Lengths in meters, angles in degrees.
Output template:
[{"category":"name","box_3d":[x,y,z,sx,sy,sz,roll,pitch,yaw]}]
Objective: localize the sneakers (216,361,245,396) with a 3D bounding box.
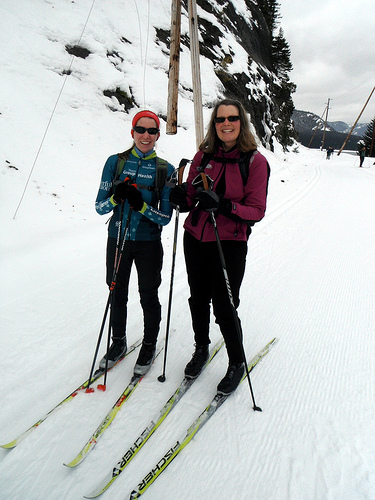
[{"category":"sneakers","box_3d":[0.348,0.957,2.658,0.105,0.128,0.323,9,27,30]}]

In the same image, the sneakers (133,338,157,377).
[{"category":"sneakers","box_3d":[-0.331,0.887,2.825,0.091,0.131,0.312,7,22,7]}]

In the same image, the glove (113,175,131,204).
[{"category":"glove","box_3d":[-0.471,-0.419,2.495,0.116,0.212,0.202,5,18,-13]}]

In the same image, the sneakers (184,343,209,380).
[{"category":"sneakers","box_3d":[0.093,0.905,2.808,0.104,0.148,0.318,10,16,16]}]

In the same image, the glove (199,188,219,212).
[{"category":"glove","box_3d":[0.132,-0.322,2.245,0.059,0.131,0.166,-8,24,-44]}]

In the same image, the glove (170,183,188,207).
[{"category":"glove","box_3d":[-0.053,-0.392,2.469,0.106,0.138,0.154,4,27,2]}]

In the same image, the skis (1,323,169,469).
[{"category":"skis","box_3d":[-0.734,1.088,2.517,0.153,0.091,1.558,-13,14,47]}]

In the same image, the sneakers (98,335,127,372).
[{"category":"sneakers","box_3d":[-0.593,0.855,2.866,0.097,0.156,0.333,3,12,22]}]

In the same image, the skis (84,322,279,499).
[{"category":"skis","box_3d":[-0.053,1.152,2.426,0.159,0.087,1.540,-10,22,46]}]
